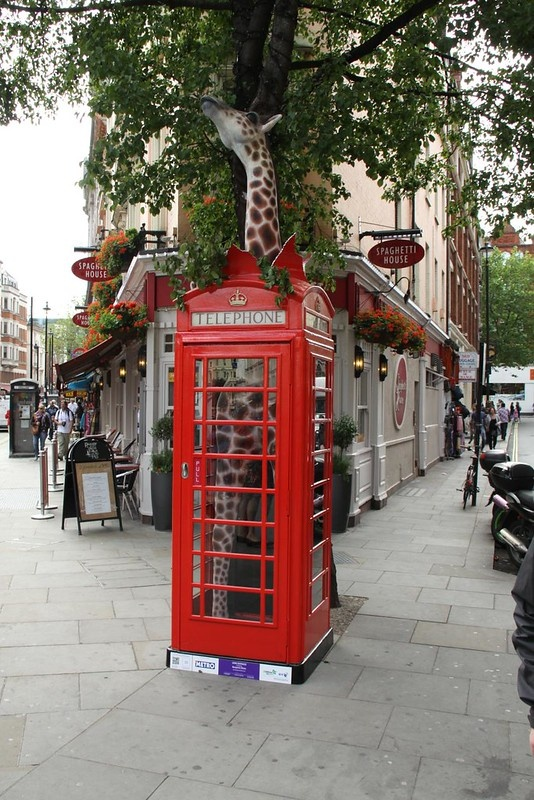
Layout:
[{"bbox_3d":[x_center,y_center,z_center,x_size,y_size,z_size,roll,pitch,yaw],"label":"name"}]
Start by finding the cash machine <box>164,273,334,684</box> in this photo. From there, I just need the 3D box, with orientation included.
[{"bbox_3d":[-0.159,0.550,5.071,0.979,2.730,1.183,2,6,2],"label":"cash machine"}]

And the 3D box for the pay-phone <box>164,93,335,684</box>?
[{"bbox_3d":[-0.081,-0.036,5.170,1.087,3.919,1.116,0,-1,-43],"label":"pay-phone"}]

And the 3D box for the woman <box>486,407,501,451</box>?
[{"bbox_3d":[8.845,1.178,28.473,0.419,1.778,3.597,-1,2,16],"label":"woman"}]

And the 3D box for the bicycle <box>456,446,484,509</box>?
[{"bbox_3d":[3.967,1.612,13.976,0.574,0.772,1.231,3,7,14],"label":"bicycle"}]

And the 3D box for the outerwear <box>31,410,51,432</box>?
[{"bbox_3d":[-6.725,0.630,21.261,0.416,0.823,0.625,-13,-9,32],"label":"outerwear"}]
